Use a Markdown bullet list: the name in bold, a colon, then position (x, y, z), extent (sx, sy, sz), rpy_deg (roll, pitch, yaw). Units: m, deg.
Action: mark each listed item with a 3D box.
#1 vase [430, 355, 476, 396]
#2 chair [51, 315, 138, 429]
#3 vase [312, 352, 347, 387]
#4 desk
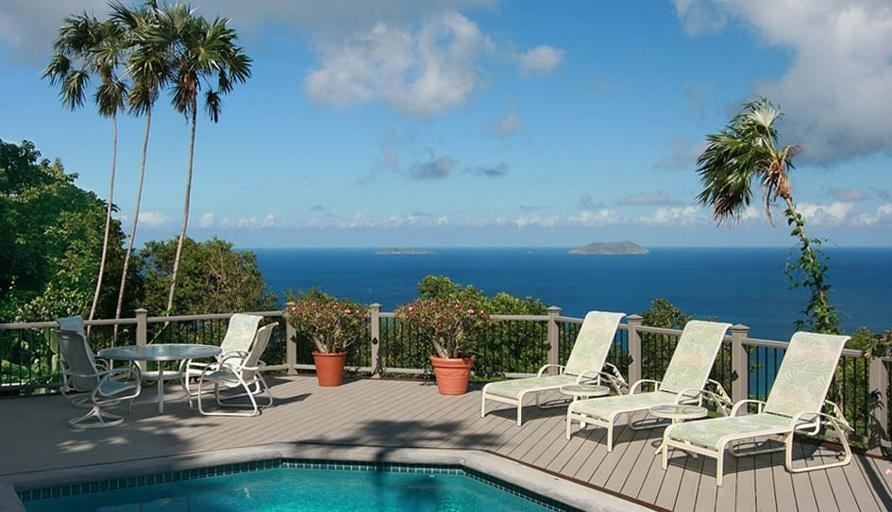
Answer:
- **vase**: position (0.191, 2.804, 14.928), extent (1.043, 0.753, 1.025), rpy_deg (-1, -6, 2)
- **chair**: position (-7.456, 2.419, 13.493), extent (1.506, 2.214, 2.133), rpy_deg (5, -4, -29)
- **vase**: position (-2.751, 2.718, 15.405), extent (0.954, 0.754, 0.950), rpy_deg (-2, -6, 11)
- **desk**: position (-5.953, 2.824, 13.538), extent (1.844, 0.971, 1.810), rpy_deg (1, -2, 3)
